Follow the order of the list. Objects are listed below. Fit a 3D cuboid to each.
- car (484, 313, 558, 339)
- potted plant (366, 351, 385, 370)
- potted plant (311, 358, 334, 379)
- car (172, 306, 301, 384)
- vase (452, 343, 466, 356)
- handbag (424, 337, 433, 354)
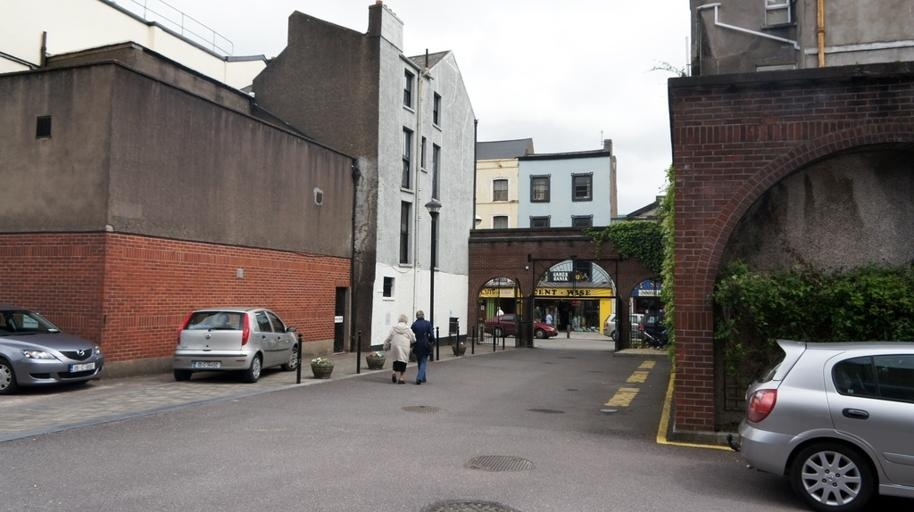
[{"bbox_3d":[3.548,4.318,47.580,4.424,1.432,1.879,-1,-4,6],"label":"car"},{"bbox_3d":[-2.803,3.565,26.720,0.608,0.441,0.582,-3,-3,1],"label":"potted plant"},{"bbox_3d":[-4.249,3.532,24.634,0.625,0.494,0.617,0,-8,-4],"label":"potted plant"},{"bbox_3d":[-6.615,2.657,23.750,3.525,2.169,1.603,-2,7,-38],"label":"car"},{"bbox_3d":[0.066,3.925,32.834,0.488,0.348,0.531,3,3,43],"label":"vase"},{"bbox_3d":[-0.930,2.753,24.290,0.203,0.511,0.450,-5,-11,18],"label":"handbag"}]
